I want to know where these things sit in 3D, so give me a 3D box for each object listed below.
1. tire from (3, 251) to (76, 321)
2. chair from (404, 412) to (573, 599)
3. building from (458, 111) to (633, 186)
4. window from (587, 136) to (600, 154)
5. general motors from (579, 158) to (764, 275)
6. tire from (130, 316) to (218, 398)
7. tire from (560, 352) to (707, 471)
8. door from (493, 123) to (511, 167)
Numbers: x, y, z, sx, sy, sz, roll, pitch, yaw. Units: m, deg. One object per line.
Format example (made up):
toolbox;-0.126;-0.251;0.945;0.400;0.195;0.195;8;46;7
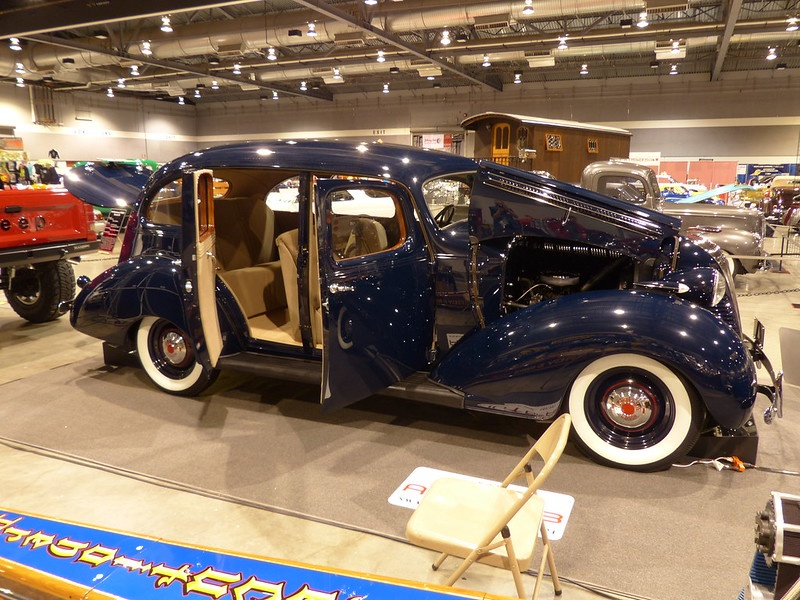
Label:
tire;-4.089;-0.178;5.858;0.789;0.664;0.261;11;18;23
chair;0.447;1.016;2.541;0.763;0.883;0.554;11;25;16
building;3.461;-3.435;11.814;3.372;1.347;1.769;-7;22;-31
window;4.331;-3.492;11.613;0.459;0.364;0.173;-8;13;-41
general motors;4.349;-1.534;9.387;4.281;1.580;2.091;8;11;11
tire;-1.840;0.391;4.318;0.803;0.712;0.253;1;10;28
tire;1.457;0.665;3.190;0.788;0.659;0.264;9;17;20
door;2.123;-3.175;10.884;0.485;1.045;0.084;-16;28;-31
